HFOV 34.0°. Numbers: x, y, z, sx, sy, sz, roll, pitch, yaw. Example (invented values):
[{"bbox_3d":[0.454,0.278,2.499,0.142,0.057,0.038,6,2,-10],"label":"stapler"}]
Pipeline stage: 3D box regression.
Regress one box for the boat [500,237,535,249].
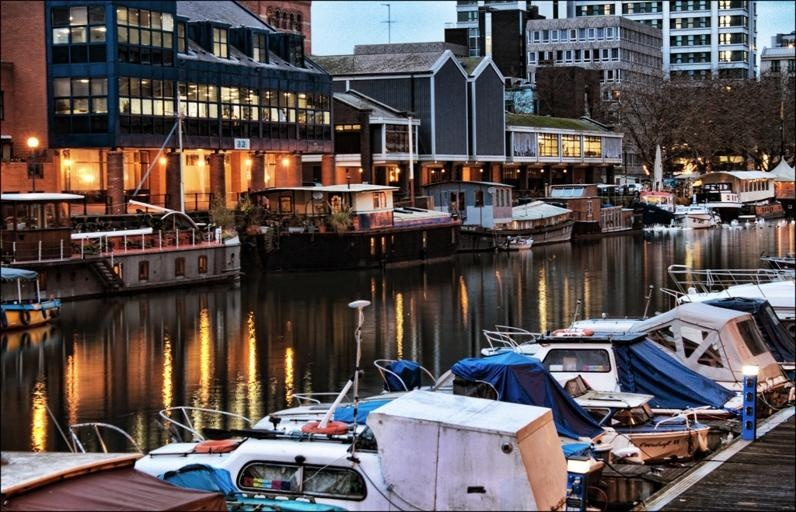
[{"bbox_3d":[8.638,-0.812,93.867,0.891,0.895,2.728,-4,-3,34],"label":"boat"}]
